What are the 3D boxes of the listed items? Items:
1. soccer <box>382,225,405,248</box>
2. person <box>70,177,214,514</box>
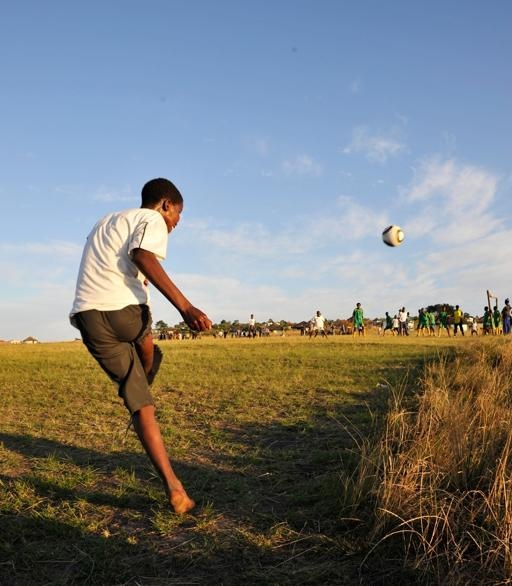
[{"bbox_3d":[3.087,-1.283,10.151,0.378,0.477,0.424,0,-5,15],"label":"soccer"},{"bbox_3d":[-0.756,0.433,2.928,0.934,2.034,0.503,-1,-5,27],"label":"person"}]
